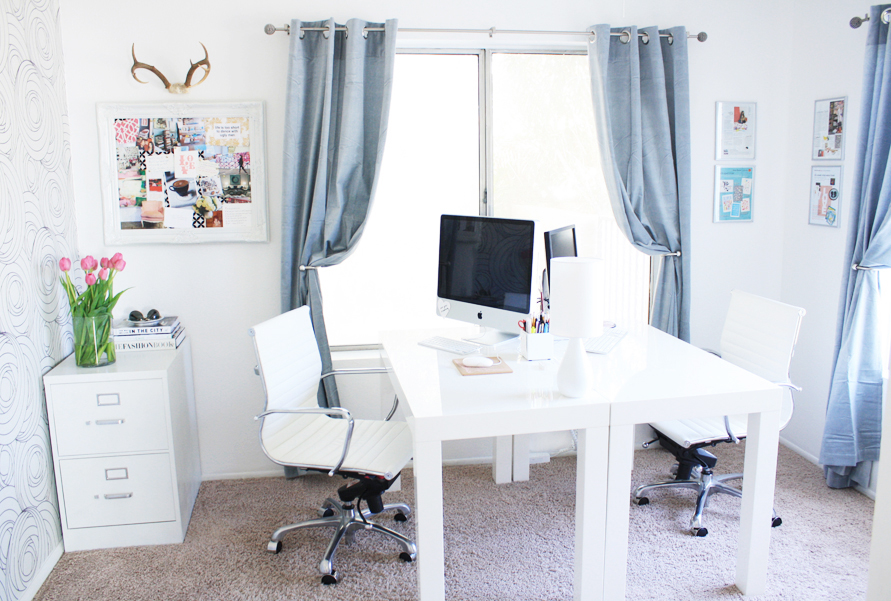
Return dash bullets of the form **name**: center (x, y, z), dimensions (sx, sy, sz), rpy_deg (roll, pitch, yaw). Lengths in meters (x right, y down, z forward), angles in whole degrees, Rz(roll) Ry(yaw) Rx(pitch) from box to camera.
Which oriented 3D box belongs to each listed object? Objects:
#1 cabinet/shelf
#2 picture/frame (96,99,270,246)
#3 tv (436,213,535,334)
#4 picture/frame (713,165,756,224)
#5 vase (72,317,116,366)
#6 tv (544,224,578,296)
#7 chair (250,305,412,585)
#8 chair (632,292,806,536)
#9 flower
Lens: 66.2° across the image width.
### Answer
- **cabinet/shelf**: center (-1.947, 0.755, 4.239), dimensions (0.649, 1.072, 0.904), rpy_deg (-2, 19, -15)
- **picture/frame**: center (-1.663, -0.823, 4.238), dimensions (0.838, 0.793, 0.041), rpy_deg (-1, 5, -6)
- **tv**: center (0.229, -0.153, 3.894), dimensions (0.604, 0.635, 0.216), rpy_deg (10, 3, 41)
- **picture/frame**: center (1.936, -0.737, 4.624), dimensions (0.353, 0.493, 0.038), rpy_deg (-1, 10, -6)
- **vase**: center (-2.019, 0.224, 3.995), dimensions (0.260, 0.292, 0.243), rpy_deg (-5, -4, 42)
- **tv**: center (0.703, -0.314, 4.041), dimensions (0.079, 0.218, 0.297), rpy_deg (-16, 7, -18)
- **chair**: center (-0.571, 0.769, 3.815), dimensions (0.822, 1.317, 0.891), rpy_deg (2, 9, 7)
- **chair**: center (1.552, 0.619, 4.063), dimensions (0.788, 1.252, 0.816), rpy_deg (-4, 10, -8)
- **flower**: center (-2.025, 0.070, 4.003), dimensions (0.372, 0.612, 0.367), rpy_deg (-2, -4, -32)
